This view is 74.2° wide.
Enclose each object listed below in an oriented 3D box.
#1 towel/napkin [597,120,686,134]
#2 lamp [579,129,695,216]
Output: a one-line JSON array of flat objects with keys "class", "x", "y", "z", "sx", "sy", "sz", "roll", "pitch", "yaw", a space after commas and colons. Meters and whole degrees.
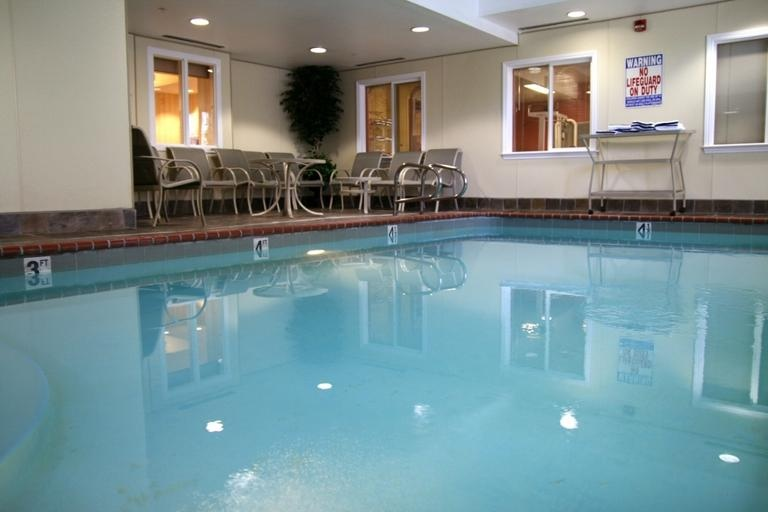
[{"class": "towel/napkin", "x": 4.277, "y": -2.155, "z": 8.479, "sx": 1.207, "sy": 0.198, "sz": 0.478, "roll": 5, "pitch": 14, "yaw": 24}, {"class": "lamp", "x": 4.409, "y": -1.445, "z": 8.956, "sx": 1.731, "sy": 1.386, "sz": 0.916, "roll": 4, "pitch": 12, "yaw": 41}]
